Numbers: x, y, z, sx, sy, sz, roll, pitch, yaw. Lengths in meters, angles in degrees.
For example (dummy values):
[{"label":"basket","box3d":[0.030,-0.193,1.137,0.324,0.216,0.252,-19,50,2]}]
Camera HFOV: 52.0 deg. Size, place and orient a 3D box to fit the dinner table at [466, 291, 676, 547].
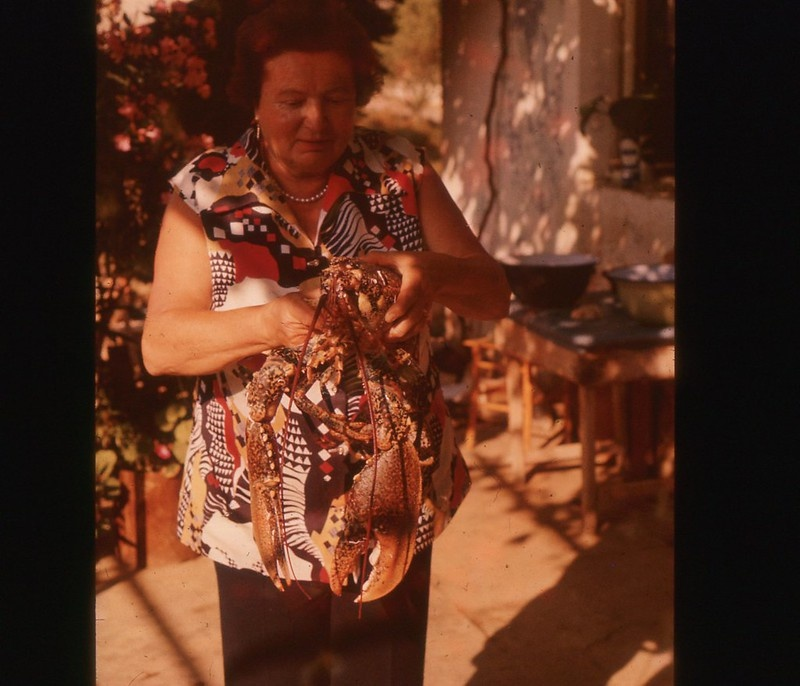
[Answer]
[{"label":"dinner table","box3d":[0.350,0.118,1.903,0.422,0.469,0.527,-7,14,-27]}]
